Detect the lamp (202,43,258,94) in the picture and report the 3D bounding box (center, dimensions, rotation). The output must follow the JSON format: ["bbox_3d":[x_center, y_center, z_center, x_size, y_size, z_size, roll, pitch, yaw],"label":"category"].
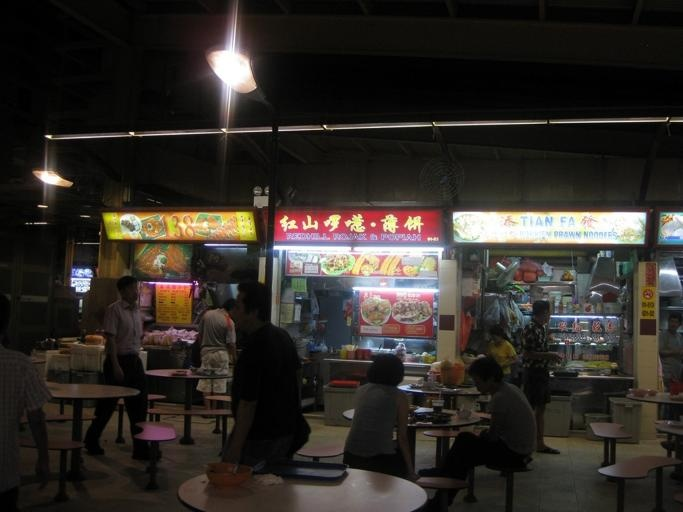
[{"bbox_3d":[-1.363,-2.401,8.248,0.507,0.520,0.666,1,-4,3],"label":"lamp"}]

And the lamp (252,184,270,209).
[{"bbox_3d":[-1.572,-1.178,12.943,0.253,0.473,0.632,2,-4,-4],"label":"lamp"}]

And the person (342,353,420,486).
[{"bbox_3d":[0.402,1.607,6.745,0.783,1.184,0.454,1,-5,15],"label":"person"}]

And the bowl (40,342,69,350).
[{"bbox_3d":[-5.789,1.769,13.156,0.456,0.148,0.395,1,-7,-11],"label":"bowl"}]

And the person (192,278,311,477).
[{"bbox_3d":[-0.651,1.023,5.840,0.753,1.590,0.402,4,-5,-20],"label":"person"}]

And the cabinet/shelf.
[{"bbox_3d":[4.036,1.420,11.460,1.248,0.717,0.403,1,-4,8],"label":"cabinet/shelf"}]

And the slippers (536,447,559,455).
[{"bbox_3d":[3.090,2.913,9.973,0.354,0.119,0.123,-2,-6,6],"label":"slippers"}]
